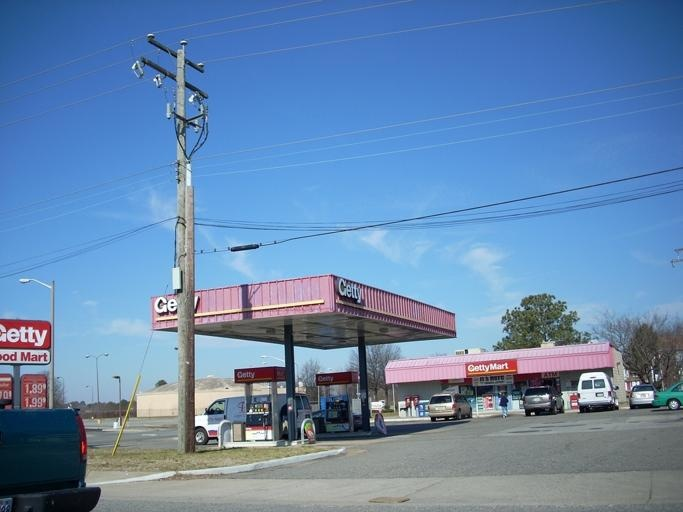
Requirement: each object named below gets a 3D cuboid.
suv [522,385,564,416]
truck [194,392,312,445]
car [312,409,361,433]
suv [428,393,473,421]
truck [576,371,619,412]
[{"bbox_3d":[12.602,8.987,46.906,1.744,1.751,2.546,-11,-16,29],"label":"suv"},{"bbox_3d":[-4.540,7.507,35.699,4.955,2.068,2.738,-4,-12,21],"label":"truck"},{"bbox_3d":[-0.033,8.549,39.486,1.689,1.088,1.704,-6,-8,36],"label":"car"},{"bbox_3d":[7.082,9.842,49.098,2.490,1.806,4.884,-8,-15,16],"label":"suv"},{"bbox_3d":[15.607,8.203,45.810,2.193,2.218,4.333,-8,-11,27],"label":"truck"}]
